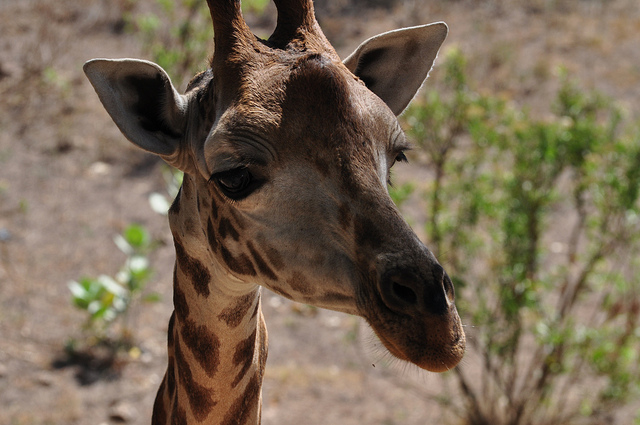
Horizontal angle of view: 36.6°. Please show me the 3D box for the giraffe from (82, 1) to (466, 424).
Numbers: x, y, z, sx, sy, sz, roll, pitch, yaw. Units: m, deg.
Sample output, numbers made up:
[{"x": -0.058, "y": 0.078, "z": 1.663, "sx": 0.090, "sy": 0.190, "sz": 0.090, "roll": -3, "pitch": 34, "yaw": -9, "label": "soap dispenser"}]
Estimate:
[{"x": -0.466, "y": 0.341, "z": 10.470, "sx": 3.139, "sy": 3.882, "sz": 3.489, "roll": -9, "pitch": 47, "yaw": -12, "label": "giraffe"}]
